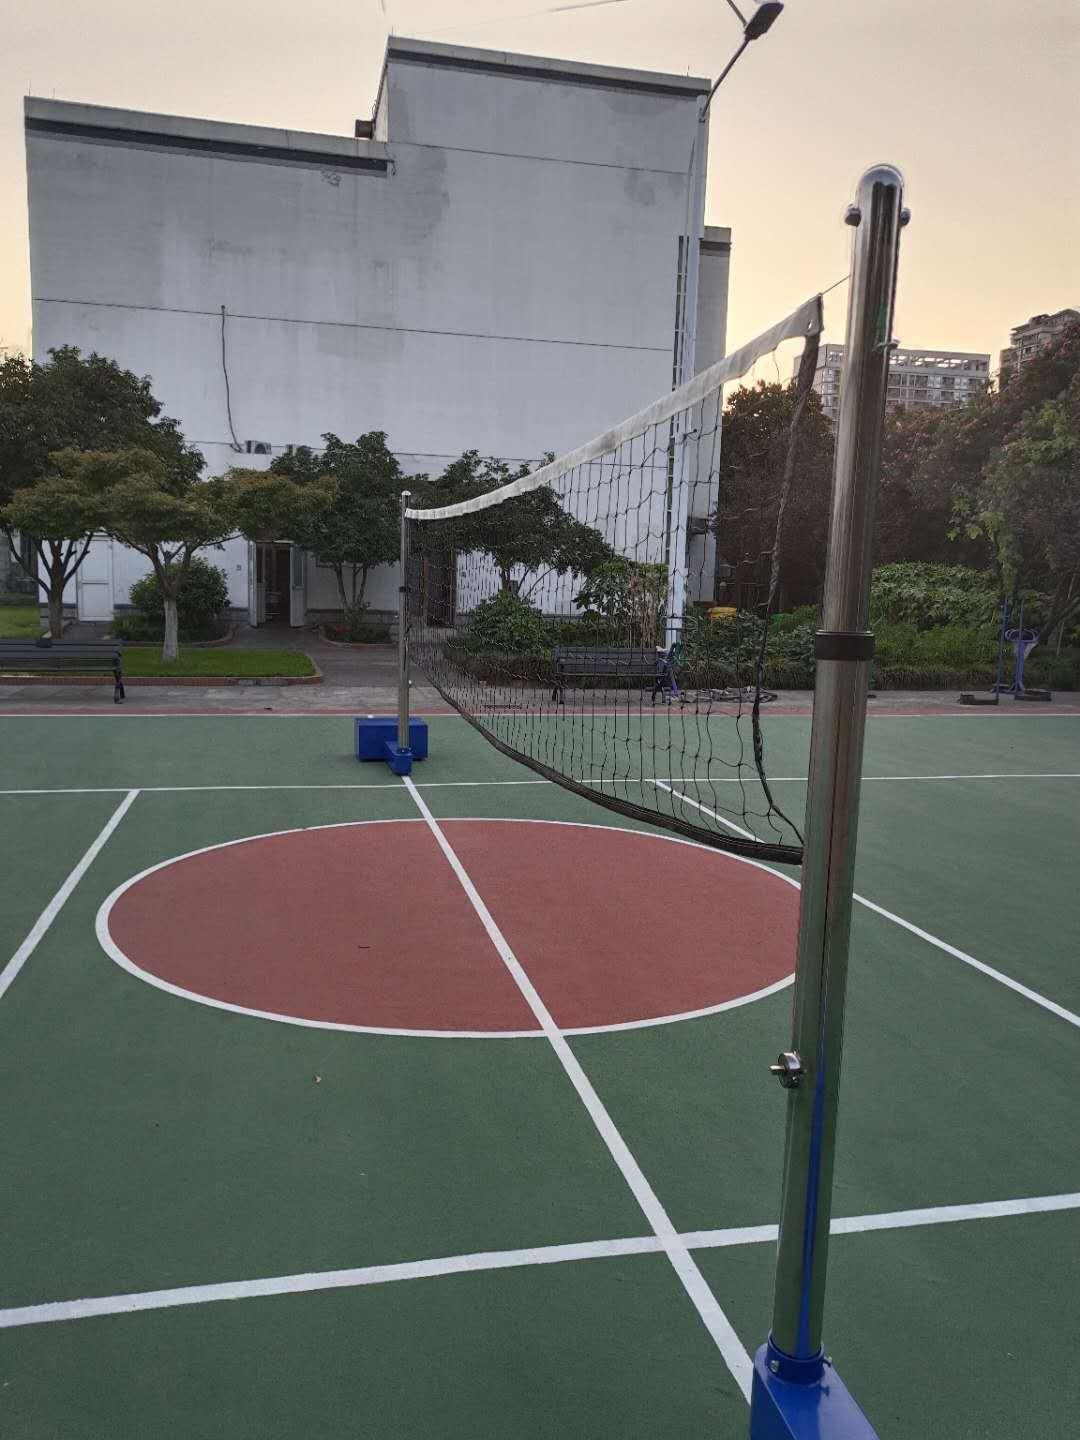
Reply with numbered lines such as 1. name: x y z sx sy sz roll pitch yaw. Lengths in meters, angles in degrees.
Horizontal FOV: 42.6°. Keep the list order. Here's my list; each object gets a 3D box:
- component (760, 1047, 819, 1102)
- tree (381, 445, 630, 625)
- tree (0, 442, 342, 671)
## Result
1. component: 0.572 0.814 3.195 0.103 0.103 0.086 6 3 -13
2. tree: -0.587 -3.469 25.970 3.307 3.950 3.919 2 11 3
3. tree: -5.257 -2.839 18.667 3.269 3.207 3.798 -1 10 1
